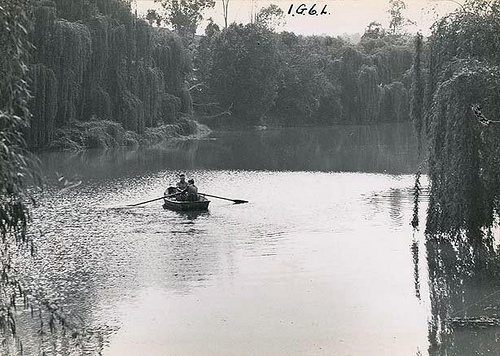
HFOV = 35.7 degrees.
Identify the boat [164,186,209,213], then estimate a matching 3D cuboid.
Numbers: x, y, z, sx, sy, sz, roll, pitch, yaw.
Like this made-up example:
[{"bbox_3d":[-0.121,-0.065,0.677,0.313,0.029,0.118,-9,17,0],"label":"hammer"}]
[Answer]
[{"bbox_3d":[-2.389,0.745,27.975,1.421,0.460,2.661,-6,14,-27],"label":"boat"}]
